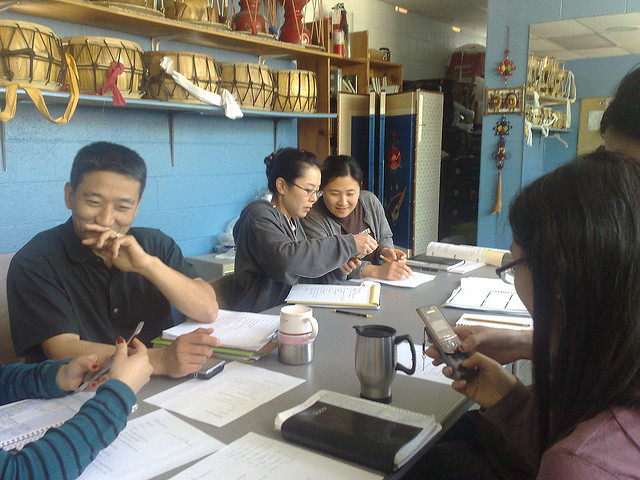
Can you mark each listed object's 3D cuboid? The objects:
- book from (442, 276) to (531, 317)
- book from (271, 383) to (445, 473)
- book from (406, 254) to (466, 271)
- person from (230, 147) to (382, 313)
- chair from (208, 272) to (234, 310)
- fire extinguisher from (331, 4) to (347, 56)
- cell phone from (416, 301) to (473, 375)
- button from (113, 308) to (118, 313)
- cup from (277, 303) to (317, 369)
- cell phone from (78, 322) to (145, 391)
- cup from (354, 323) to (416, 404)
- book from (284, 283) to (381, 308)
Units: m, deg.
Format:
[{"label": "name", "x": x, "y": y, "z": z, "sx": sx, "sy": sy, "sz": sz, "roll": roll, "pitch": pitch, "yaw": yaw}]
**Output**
[{"label": "book", "x": 0.637, "y": 0.224, "z": 1.912, "sx": 0.205, "sy": 0.035, "sz": 0.223, "roll": 2, "pitch": 14, "yaw": 20}, {"label": "book", "x": 0.076, "y": 0.413, "z": 1.120, "sx": 0.373, "sy": 0.066, "sz": 0.217, "roll": 2, "pitch": 10, "yaw": 22}, {"label": "book", "x": 0.572, "y": 0.111, "z": 2.462, "sx": 0.265, "sy": 0.030, "sz": 0.232, "roll": 2, "pitch": 11, "yaw": 25}, {"label": "person", "x": -0.061, "y": -0.087, "z": 2.375, "sx": 0.583, "sy": 0.696, "sz": 0.842, "roll": 7, "pitch": 13, "yaw": 43}, {"label": "chair", "x": -0.412, "y": 0.224, "z": 2.150, "sx": 0.132, "sy": 0.156, "sz": 0.126, "roll": -1, "pitch": 4, "yaw": 13}, {"label": "fire extinguisher", "x": 0.143, "y": -1.556, "z": 3.666, "sx": 0.106, "sy": 0.401, "sz": 0.225, "roll": -1, "pitch": 9, "yaw": 6}, {"label": "cell phone", "x": 0.299, "y": 0.239, "z": 1.229, "sx": 0.064, "sy": 0.035, "sz": 0.217, "roll": -13, "pitch": 43, "yaw": -14}, {"label": "button", "x": -0.701, "y": 0.242, "z": 1.703, "sx": 0.017, "sy": 0.018, "sz": 0.004, "roll": 2, "pitch": -3, "yaw": -29}, {"label": "cup", "x": -0.050, "y": 0.281, "z": 1.410, "sx": 0.093, "sy": 0.152, "sz": 0.147, "roll": -1, "pitch": -4, "yaw": -37}, {"label": "cell phone", "x": -0.556, "y": 0.308, "z": 1.308, "sx": 0.047, "sy": 0.028, "sz": 0.205, "roll": 28, "pitch": 60, "yaw": 28}, {"label": "cup", "x": 0.164, "y": 0.312, "z": 1.240, "sx": 0.146, "sy": 0.195, "sz": 0.096, "roll": 2, "pitch": 8, "yaw": 11}, {"label": "book", "x": 0.052, "y": 0.215, "z": 1.949, "sx": 0.361, "sy": 0.038, "sz": 0.241, "roll": -1, "pitch": 10, "yaw": 9}]
